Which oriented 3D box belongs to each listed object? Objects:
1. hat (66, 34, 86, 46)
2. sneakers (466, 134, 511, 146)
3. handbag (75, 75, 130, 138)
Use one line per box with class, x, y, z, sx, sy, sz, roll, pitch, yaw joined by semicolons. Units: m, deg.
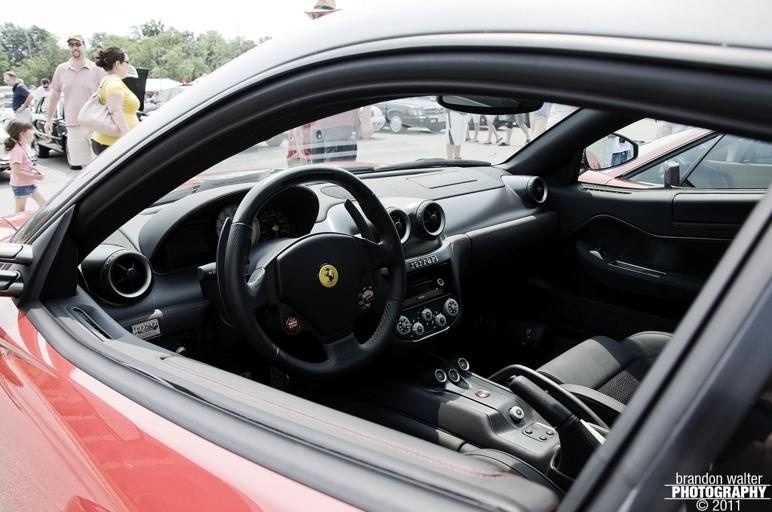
hat;-3.386;-2.381;5.837;0.126;0.071;0.186;-7;8;-4
sneakers;0.599;-0.675;3.092;0.075;0.097;0.246;-36;32;-30
handbag;-2.690;-1.389;4.996;0.198;0.524;0.381;2;-18;-20
